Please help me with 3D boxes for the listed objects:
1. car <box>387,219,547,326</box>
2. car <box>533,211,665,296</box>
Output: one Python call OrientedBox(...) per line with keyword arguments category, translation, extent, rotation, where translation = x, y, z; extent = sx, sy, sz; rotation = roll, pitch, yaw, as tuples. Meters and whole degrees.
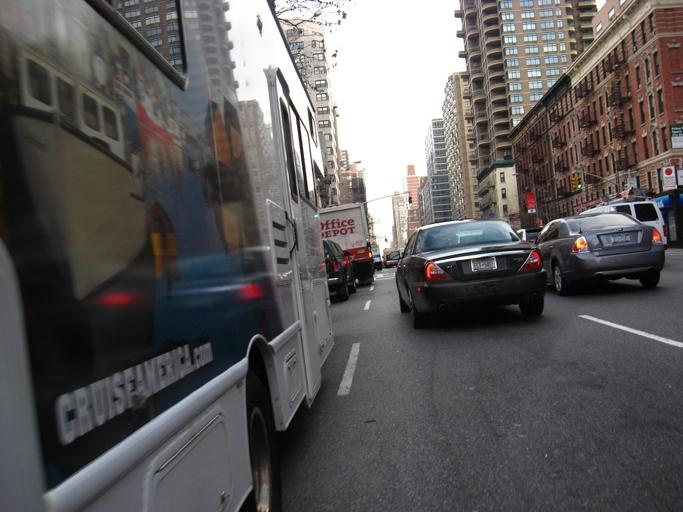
OrientedBox(category="car", translation=(2.526, 0.230, 10.398), extent=(1.473, 1.339, 3.586), rotation=(-5, 1, -2))
OrientedBox(category="car", translation=(6.397, -0.140, 12.523), extent=(1.729, 1.491, 4.127), rotation=(-4, -1, 4))
